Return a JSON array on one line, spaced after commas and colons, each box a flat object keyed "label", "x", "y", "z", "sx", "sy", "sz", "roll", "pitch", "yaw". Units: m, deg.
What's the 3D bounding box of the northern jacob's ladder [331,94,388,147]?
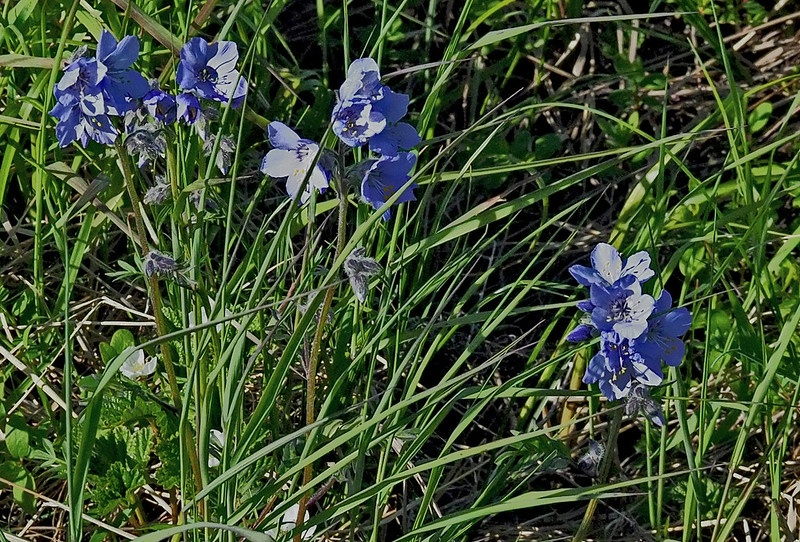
[{"label": "northern jacob's ladder", "x": -0.168, "y": -0.578, "z": 3.327, "sx": 0.158, "sy": 0.082, "sz": 0.207, "roll": -18, "pitch": 85, "yaw": -3}]

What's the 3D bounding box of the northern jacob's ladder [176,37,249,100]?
[{"label": "northern jacob's ladder", "x": -0.804, "y": -0.853, "z": 3.653, "sx": 0.251, "sy": 0.144, "sz": 0.323, "roll": 4, "pitch": 81, "yaw": -15}]

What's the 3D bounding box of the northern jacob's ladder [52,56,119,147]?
[{"label": "northern jacob's ladder", "x": -1.306, "y": -0.696, "z": 3.524, "sx": 0.276, "sy": 0.341, "sz": 0.190, "roll": 2, "pitch": 48, "yaw": -2}]

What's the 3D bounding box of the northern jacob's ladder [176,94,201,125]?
[{"label": "northern jacob's ladder", "x": -0.905, "y": -0.693, "z": 3.651, "sx": 0.081, "sy": 0.137, "sz": 0.047, "roll": 4, "pitch": 13, "yaw": -3}]

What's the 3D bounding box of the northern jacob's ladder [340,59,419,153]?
[{"label": "northern jacob's ladder", "x": -0.084, "y": -0.598, "z": 3.406, "sx": 0.155, "sy": 0.345, "sz": 0.335, "roll": -1, "pitch": 65, "yaw": 39}]

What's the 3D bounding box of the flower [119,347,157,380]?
[{"label": "flower", "x": -1.238, "y": 0.439, "z": 4.028, "sx": 0.146, "sy": 0.097, "sz": 0.164, "roll": -30, "pitch": 47, "yaw": -5}]

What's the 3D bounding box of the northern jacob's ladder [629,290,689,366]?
[{"label": "northern jacob's ladder", "x": 1.043, "y": 0.242, "z": 3.544, "sx": 0.243, "sy": 0.278, "sz": 0.122, "roll": -29, "pitch": 16, "yaw": -22}]

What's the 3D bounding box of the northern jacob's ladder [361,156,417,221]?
[{"label": "northern jacob's ladder", "x": -0.048, "y": -0.362, "z": 3.479, "sx": 0.239, "sy": 0.187, "sz": 0.109, "roll": -10, "pitch": 50, "yaw": -12}]

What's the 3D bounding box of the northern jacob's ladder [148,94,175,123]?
[{"label": "northern jacob's ladder", "x": -1.016, "y": -0.694, "z": 3.651, "sx": 0.101, "sy": 0.065, "sz": 0.116, "roll": 19, "pitch": 21, "yaw": 11}]
